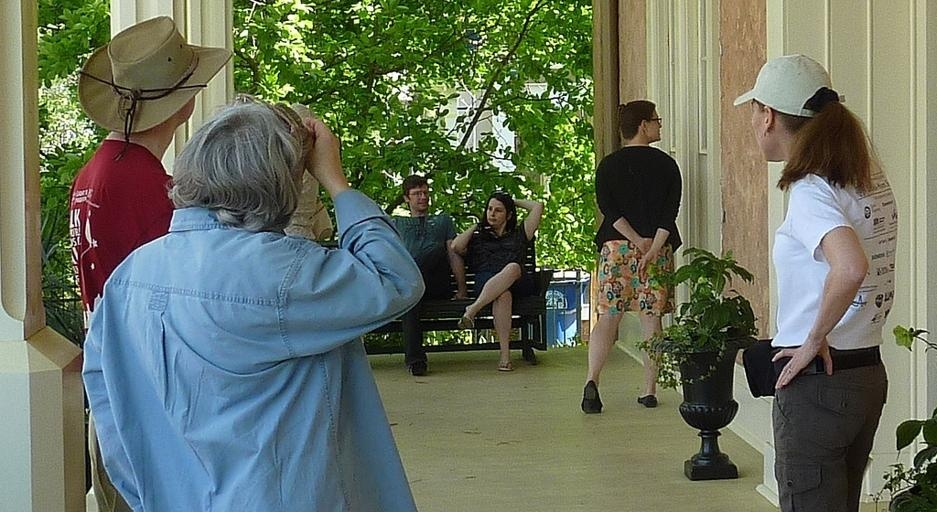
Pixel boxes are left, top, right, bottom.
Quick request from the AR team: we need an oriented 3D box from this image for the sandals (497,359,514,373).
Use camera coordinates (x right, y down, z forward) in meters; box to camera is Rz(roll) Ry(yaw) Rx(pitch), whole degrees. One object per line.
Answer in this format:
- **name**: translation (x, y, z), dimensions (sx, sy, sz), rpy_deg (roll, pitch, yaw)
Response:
- **sandals**: translation (0.338, 1.023, 12.265), dimensions (0.113, 0.071, 0.289), rpy_deg (-1, -1, -1)

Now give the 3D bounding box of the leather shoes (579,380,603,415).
- **leather shoes**: translation (0.969, 1.086, 10.502), dimensions (0.169, 0.269, 0.260), rpy_deg (-3, 12, 5)

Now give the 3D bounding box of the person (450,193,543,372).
- **person**: translation (0.230, 0.195, 12.583), dimensions (0.802, 1.559, 1.016), rpy_deg (0, 12, 17)

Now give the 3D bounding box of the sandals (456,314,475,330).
- **sandals**: translation (-0.024, 0.620, 12.423), dimensions (0.166, 0.183, 0.285), rpy_deg (-3, 12, 0)

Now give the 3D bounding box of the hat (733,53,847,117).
- **hat**: translation (1.808, -1.007, 7.554), dimensions (0.459, 0.325, 0.596), rpy_deg (-6, 19, -21)
